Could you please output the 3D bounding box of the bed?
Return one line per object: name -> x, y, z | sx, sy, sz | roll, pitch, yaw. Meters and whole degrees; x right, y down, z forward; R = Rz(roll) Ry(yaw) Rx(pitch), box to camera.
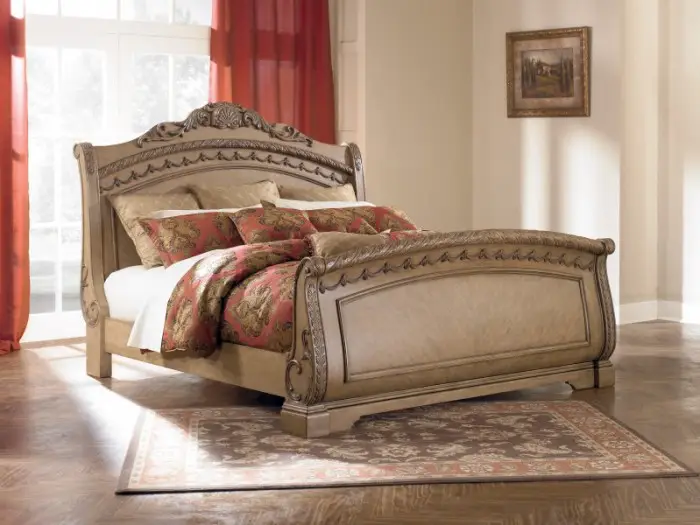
bed -> -0.094, -0.106, 4.358 | 2.288, 1.160, 2.220 | -15, 21, -40
